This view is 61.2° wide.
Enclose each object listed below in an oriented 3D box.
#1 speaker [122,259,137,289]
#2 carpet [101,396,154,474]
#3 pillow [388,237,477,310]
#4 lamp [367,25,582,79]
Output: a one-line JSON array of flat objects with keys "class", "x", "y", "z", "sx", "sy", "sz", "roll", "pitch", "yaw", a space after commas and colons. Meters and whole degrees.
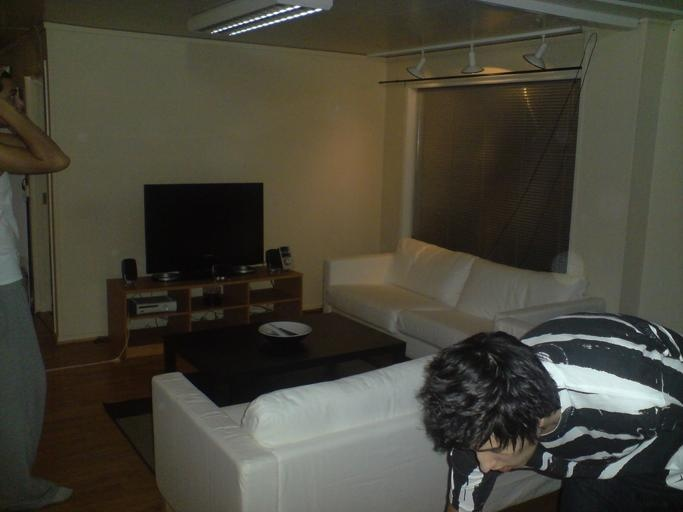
[{"class": "speaker", "x": -1.875, "y": 0.138, "z": 5.078, "sx": 0.110, "sy": 0.223, "sz": 0.196, "roll": -4, "pitch": 13, "yaw": -25}, {"class": "carpet", "x": -1.413, "y": 1.156, "z": 3.909, "sx": 0.266, "sy": 0.013, "sz": 0.703, "roll": -2, "pitch": 11, "yaw": -34}, {"class": "pillow", "x": 0.869, "y": 0.113, "z": 5.423, "sx": 0.485, "sy": 0.625, "sz": 1.236, "roll": -10, "pitch": 14, "yaw": -33}, {"class": "lamp", "x": 1.232, "y": -1.897, "z": 5.594, "sx": 0.605, "sy": 0.359, "sz": 2.215, "roll": -6, "pitch": 13, "yaw": -32}]
